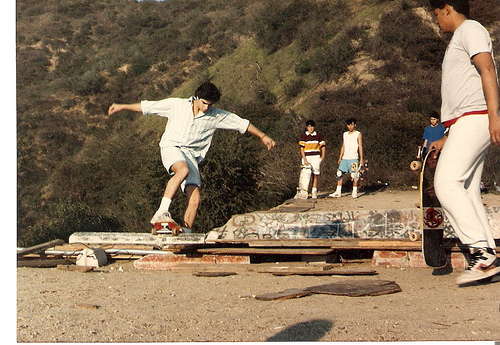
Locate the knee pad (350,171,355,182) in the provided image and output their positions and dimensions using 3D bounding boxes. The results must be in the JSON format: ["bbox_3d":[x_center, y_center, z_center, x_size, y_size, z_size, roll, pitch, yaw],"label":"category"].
[{"bbox_3d":[2.662,0.066,15.385,0.043,0.193,0.130,5,3,-1],"label":"knee pad"}]

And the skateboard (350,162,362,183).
[{"bbox_3d":[2.729,-0.018,15.468,0.250,0.503,0.211,-8,-4,44],"label":"skateboard"}]

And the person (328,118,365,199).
[{"bbox_3d":[2.562,-0.365,15.563,0.648,2.114,0.838,-12,13,-43],"label":"person"}]

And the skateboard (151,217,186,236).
[{"bbox_3d":[-1.539,0.984,10.963,0.466,0.262,0.287,-1,-2,8],"label":"skateboard"}]

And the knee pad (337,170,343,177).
[{"bbox_3d":[2.378,0.006,15.786,0.131,0.174,0.038,7,7,21],"label":"knee pad"}]
